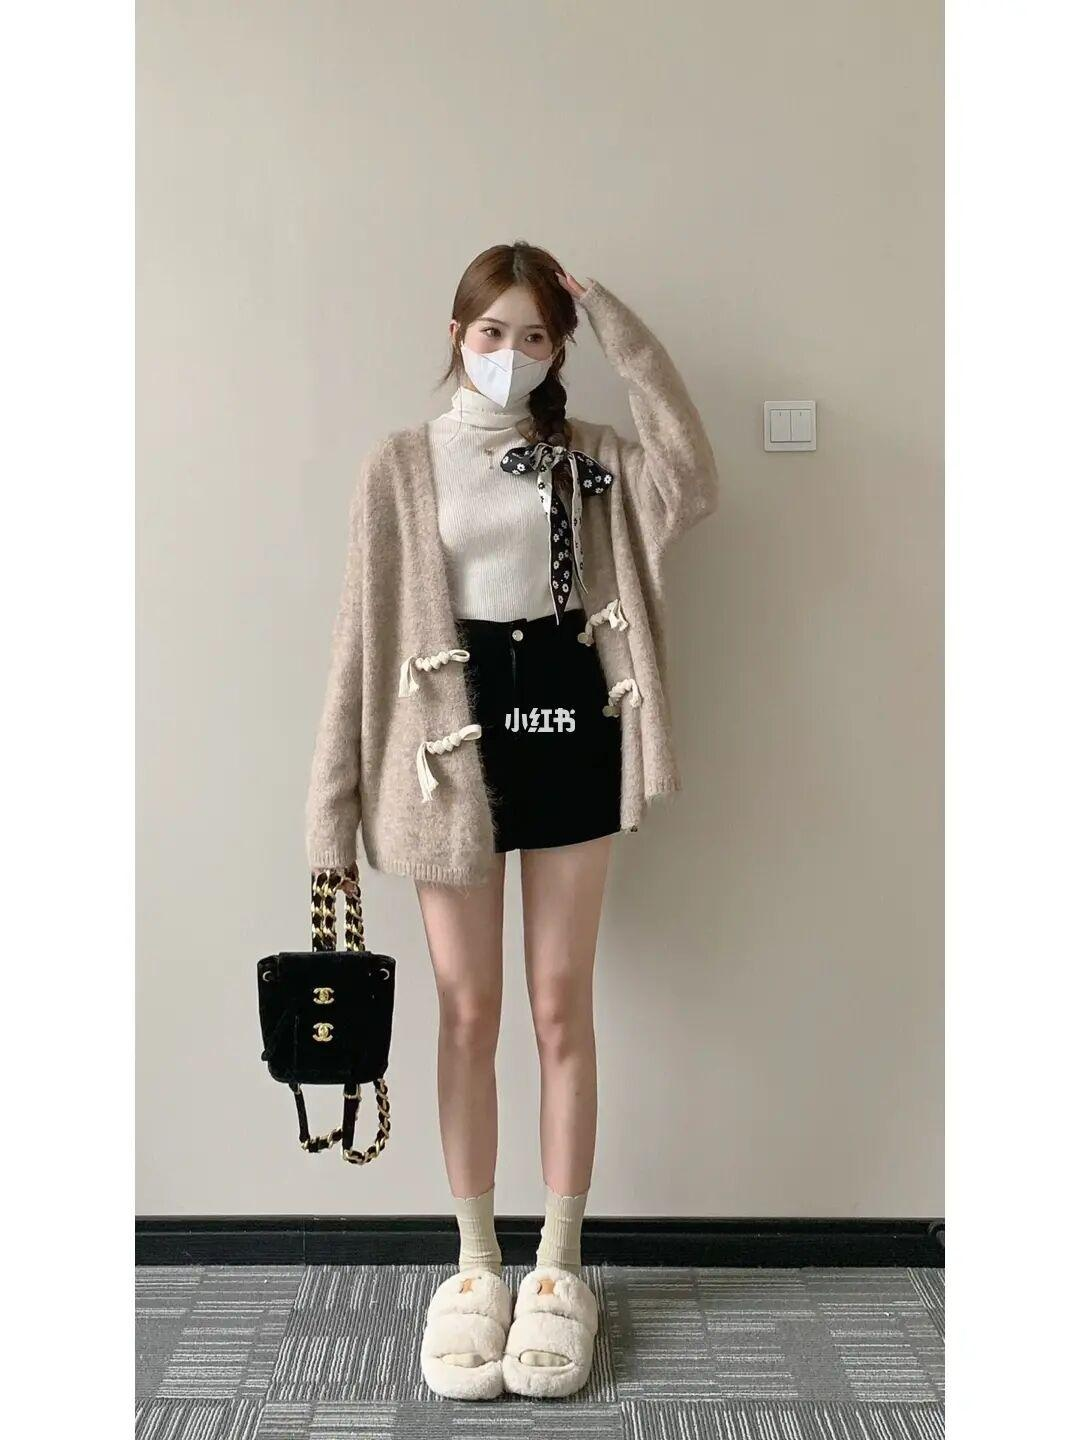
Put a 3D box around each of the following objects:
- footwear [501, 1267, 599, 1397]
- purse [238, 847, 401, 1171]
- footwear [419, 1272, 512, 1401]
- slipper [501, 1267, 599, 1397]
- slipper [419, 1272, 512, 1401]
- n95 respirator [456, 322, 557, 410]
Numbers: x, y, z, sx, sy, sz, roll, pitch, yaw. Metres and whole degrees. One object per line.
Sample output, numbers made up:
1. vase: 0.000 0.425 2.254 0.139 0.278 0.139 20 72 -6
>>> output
1. footwear: 0.018 0.822 2.081 0.115 0.065 0.204 4 24 5
2. purse: -0.272 0.433 2.156 0.179 0.466 0.236 -2 10 4
3. footwear: -0.096 0.830 2.078 0.121 0.118 0.146 -3 9 -2
4. slipper: 0.015 0.826 2.071 0.110 0.122 0.144 -1 9 8
5. slipper: -0.096 0.830 2.078 0.121 0.118 0.146 -3 9 -2
6. n95 respirator: -0.038 -0.469 2.035 0.101 0.057 0.098 2 26 -10
